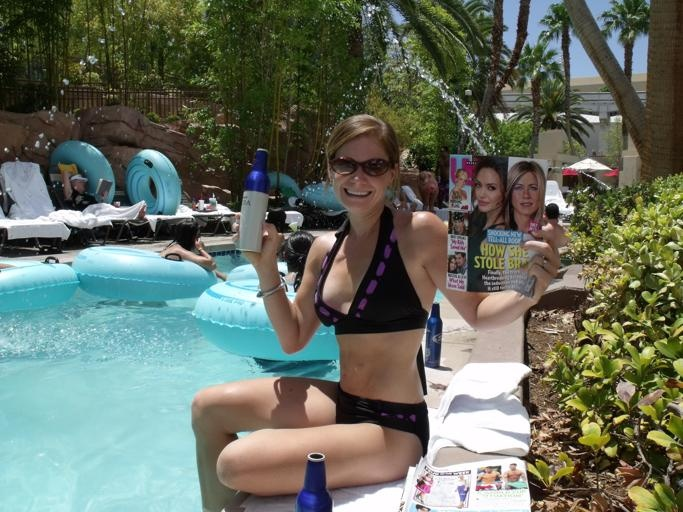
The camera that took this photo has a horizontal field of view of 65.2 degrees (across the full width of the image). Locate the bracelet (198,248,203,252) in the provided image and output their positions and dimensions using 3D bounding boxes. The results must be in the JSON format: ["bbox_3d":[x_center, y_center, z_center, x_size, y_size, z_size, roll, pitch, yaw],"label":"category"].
[{"bbox_3d":[-1.901,-0.076,7.240,0.057,0.023,0.059,13,7,38],"label":"bracelet"}]

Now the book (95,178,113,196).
[{"bbox_3d":[-5.563,-1.613,12.567,0.380,0.395,0.094,10,-3,-9],"label":"book"}]

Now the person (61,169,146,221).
[{"bbox_3d":[-5.533,-1.428,12.375,2.046,1.352,0.986,8,21,9],"label":"person"}]

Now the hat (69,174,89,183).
[{"bbox_3d":[-6.216,-1.834,12.510,0.357,0.142,0.270,5,5,9],"label":"hat"}]

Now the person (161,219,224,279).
[{"bbox_3d":[-1.991,-0.078,7.104,0.560,0.684,0.984,7,-1,28],"label":"person"}]
